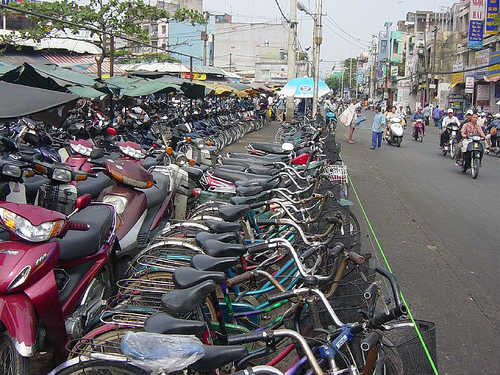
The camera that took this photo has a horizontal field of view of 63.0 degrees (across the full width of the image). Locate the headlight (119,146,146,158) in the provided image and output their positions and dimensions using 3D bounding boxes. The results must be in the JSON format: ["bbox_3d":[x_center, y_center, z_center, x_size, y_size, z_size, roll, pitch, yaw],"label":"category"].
[{"bbox_3d":[-1.631,-0.477,5.589,0.143,0.108,0.404,3,-12,46],"label":"headlight"}]

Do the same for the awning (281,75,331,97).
[{"bbox_3d":[2.067,-3.769,15.860,1.540,0.575,1.537,3,12,19],"label":"awning"}]

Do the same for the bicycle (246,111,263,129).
[{"bbox_3d":[0.471,-4.091,25.145,0.696,0.905,0.330,-8,-1,-25],"label":"bicycle"}]

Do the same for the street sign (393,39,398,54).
[{"bbox_3d":[30.224,-29.137,84.871,0.960,2.844,1.409,11,16,33],"label":"street sign"}]

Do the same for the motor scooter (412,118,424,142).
[{"bbox_3d":[9.162,-3.114,22.300,0.543,1.190,1.079,7,14,20],"label":"motor scooter"}]

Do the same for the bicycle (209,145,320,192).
[{"bbox_3d":[0.157,-0.201,5.981,1.324,0.830,0.817,0,45,10],"label":"bicycle"}]

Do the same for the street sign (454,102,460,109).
[{"bbox_3d":[20.236,-8.048,40.086,0.628,0.583,0.318,5,41,8],"label":"street sign"}]

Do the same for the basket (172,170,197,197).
[{"bbox_3d":[-0.933,-0.271,5.711,0.340,0.435,0.123,-3,19,44],"label":"basket"}]

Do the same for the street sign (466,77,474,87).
[{"bbox_3d":[18.949,-9.063,35.237,0.525,0.856,1.049,9,15,25],"label":"street sign"}]

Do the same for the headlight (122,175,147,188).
[{"bbox_3d":[-1.279,-0.061,4.525,0.265,0.152,0.053,-3,14,-22],"label":"headlight"}]

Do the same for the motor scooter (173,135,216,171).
[{"bbox_3d":[-1.094,-0.663,8.170,1.012,0.831,0.628,4,15,1],"label":"motor scooter"}]

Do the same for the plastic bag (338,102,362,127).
[{"bbox_3d":[4.588,-3.416,19.272,0.654,1.043,0.559,5,13,12],"label":"plastic bag"}]

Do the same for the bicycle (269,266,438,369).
[{"bbox_3d":[0.582,0.783,2.387,0.900,0.658,0.624,-2,23,4],"label":"bicycle"}]

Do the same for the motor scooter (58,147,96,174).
[{"bbox_3d":[-2.479,-0.392,5.866,0.569,0.468,0.382,4,12,2],"label":"motor scooter"}]

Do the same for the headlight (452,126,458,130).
[{"bbox_3d":[8.287,-2.407,16.551,0.223,0.143,0.118,-2,19,1],"label":"headlight"}]

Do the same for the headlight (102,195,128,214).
[{"bbox_3d":[-1.478,0.167,4.512,0.245,0.169,0.086,22,-8,-1],"label":"headlight"}]

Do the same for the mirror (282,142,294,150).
[{"bbox_3d":[0.659,-0.709,7.245,0.162,0.143,0.348,3,13,4],"label":"mirror"}]

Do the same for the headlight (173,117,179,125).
[{"bbox_3d":[-2.480,-2.217,13.643,0.042,0.164,0.179,15,11,36],"label":"headlight"}]

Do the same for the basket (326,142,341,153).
[{"bbox_3d":[1.885,-0.893,9.216,0.271,0.106,0.361,-2,6,-25],"label":"basket"}]

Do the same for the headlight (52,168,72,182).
[{"bbox_3d":[-1.714,-0.112,3.726,0.151,0.092,0.086,11,7,43],"label":"headlight"}]

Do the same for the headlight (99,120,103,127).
[{"bbox_3d":[-4.068,-1.735,11.105,0.095,0.161,0.153,-3,14,-23],"label":"headlight"}]

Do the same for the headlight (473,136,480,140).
[{"bbox_3d":[7.396,-1.634,13.375,0.168,0.054,0.164,-12,20,-34],"label":"headlight"}]

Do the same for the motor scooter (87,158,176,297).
[{"bbox_3d":[-1.434,0.295,5.107,0.879,1.339,2.169,11,11,1],"label":"motor scooter"}]

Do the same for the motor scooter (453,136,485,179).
[{"bbox_3d":[7.007,-0.971,12.945,1.042,1.480,1.016,5,13,13],"label":"motor scooter"}]

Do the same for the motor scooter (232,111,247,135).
[{"bbox_3d":[-0.645,-3.417,20.596,0.471,1.210,0.958,-24,-15,4],"label":"motor scooter"}]

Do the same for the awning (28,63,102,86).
[{"bbox_3d":[-4.695,-2.581,9.957,1.679,0.766,1.577,-2,14,-6],"label":"awning"}]

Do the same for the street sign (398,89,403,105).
[{"bbox_3d":[25.355,-15.339,68.920,0.527,2.235,2.545,6,14,14],"label":"street sign"}]

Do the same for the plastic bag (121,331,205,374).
[{"bbox_3d":[-0.393,0.741,1.833,0.369,0.150,0.101,3,13,1],"label":"plastic bag"}]

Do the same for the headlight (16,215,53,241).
[{"bbox_3d":[-1.545,0.293,2.926,0.233,0.177,0.067,-4,14,-25],"label":"headlight"}]

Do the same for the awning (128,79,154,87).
[{"bbox_3d":[-3.306,-3.085,12.053,0.667,0.221,0.884,10,15,29],"label":"awning"}]
